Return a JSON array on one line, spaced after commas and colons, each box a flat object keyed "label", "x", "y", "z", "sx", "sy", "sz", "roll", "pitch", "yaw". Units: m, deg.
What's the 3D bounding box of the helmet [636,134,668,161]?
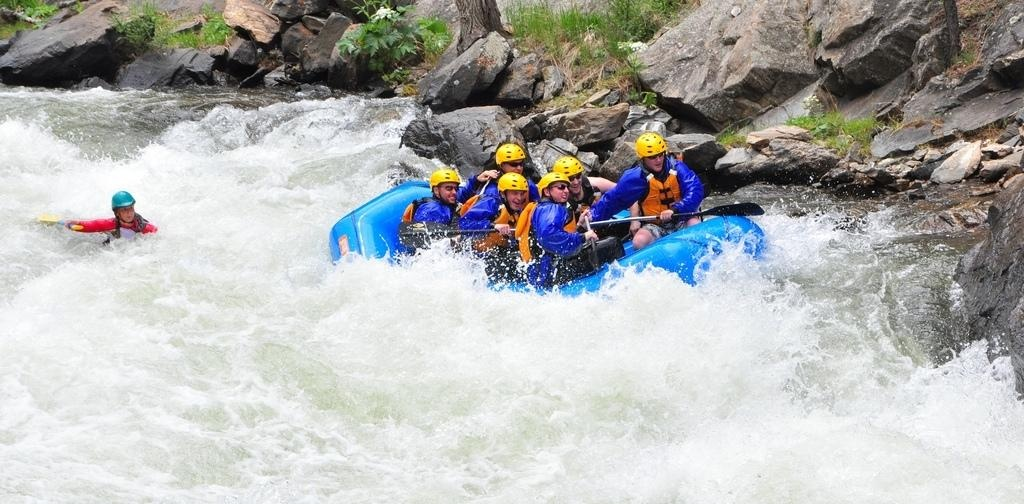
[{"label": "helmet", "x": 2.470, "y": -1.934, "z": 19.735, "sx": 0.486, "sy": 0.305, "sz": 0.579, "roll": -13, "pitch": 23, "yaw": -7}]

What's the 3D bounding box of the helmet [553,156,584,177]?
[{"label": "helmet", "x": 1.032, "y": -1.566, "z": 19.745, "sx": 0.564, "sy": 0.182, "sz": 0.389, "roll": -9, "pitch": 19, "yaw": -21}]

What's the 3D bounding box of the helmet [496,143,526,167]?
[{"label": "helmet", "x": -0.083, "y": -1.784, "z": 20.066, "sx": 0.547, "sy": 0.331, "sz": 0.398, "roll": 9, "pitch": 12, "yaw": 38}]

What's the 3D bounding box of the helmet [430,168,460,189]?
[{"label": "helmet", "x": -1.309, "y": -1.320, "z": 19.945, "sx": 0.537, "sy": 0.286, "sz": 0.383, "roll": 8, "pitch": 14, "yaw": 11}]

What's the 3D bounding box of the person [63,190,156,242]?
[{"label": "person", "x": -7.615, "y": -0.639, "z": 20.240, "sx": 1.175, "sy": 1.005, "sz": 0.332, "roll": -3, "pitch": 43, "yaw": -24}]

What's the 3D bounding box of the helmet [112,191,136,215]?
[{"label": "helmet", "x": -7.156, "y": -0.898, "z": 19.785, "sx": 0.350, "sy": 0.214, "sz": 0.459, "roll": -15, "pitch": 27, "yaw": -27}]

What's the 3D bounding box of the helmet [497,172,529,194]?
[{"label": "helmet", "x": -0.023, "y": -1.227, "z": 19.158, "sx": 0.445, "sy": 0.224, "sz": 0.347, "roll": 15, "pitch": 15, "yaw": 37}]

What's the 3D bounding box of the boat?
[{"label": "boat", "x": 0.401, "y": -0.125, "z": 19.155, "sx": 5.666, "sy": 0.917, "sz": 2.730, "roll": -2, "pitch": 39, "yaw": 6}]

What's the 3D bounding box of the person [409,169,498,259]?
[{"label": "person", "x": -1.072, "y": -0.623, "z": 19.570, "sx": 0.836, "sy": 0.807, "sz": 1.528, "roll": 13, "pitch": 43, "yaw": 18}]

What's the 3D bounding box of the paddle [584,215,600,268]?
[{"label": "paddle", "x": 1.358, "y": -0.178, "z": 18.887, "sx": 0.196, "sy": 0.930, "sz": 0.179, "roll": -19, "pitch": 11, "yaw": 8}]
